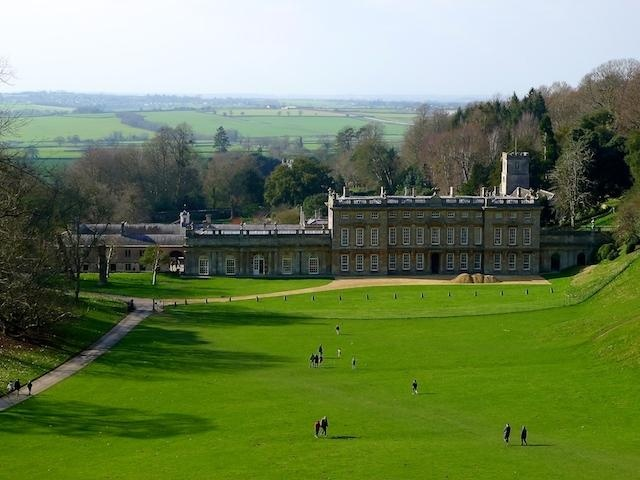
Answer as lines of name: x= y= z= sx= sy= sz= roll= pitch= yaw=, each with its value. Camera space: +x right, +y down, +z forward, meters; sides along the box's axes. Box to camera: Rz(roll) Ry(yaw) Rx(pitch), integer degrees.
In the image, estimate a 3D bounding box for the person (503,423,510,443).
person: x=15.477 y=15.757 z=102.539 sx=0.618 sy=1.445 sz=2.249 roll=1 pitch=12 yaw=9
